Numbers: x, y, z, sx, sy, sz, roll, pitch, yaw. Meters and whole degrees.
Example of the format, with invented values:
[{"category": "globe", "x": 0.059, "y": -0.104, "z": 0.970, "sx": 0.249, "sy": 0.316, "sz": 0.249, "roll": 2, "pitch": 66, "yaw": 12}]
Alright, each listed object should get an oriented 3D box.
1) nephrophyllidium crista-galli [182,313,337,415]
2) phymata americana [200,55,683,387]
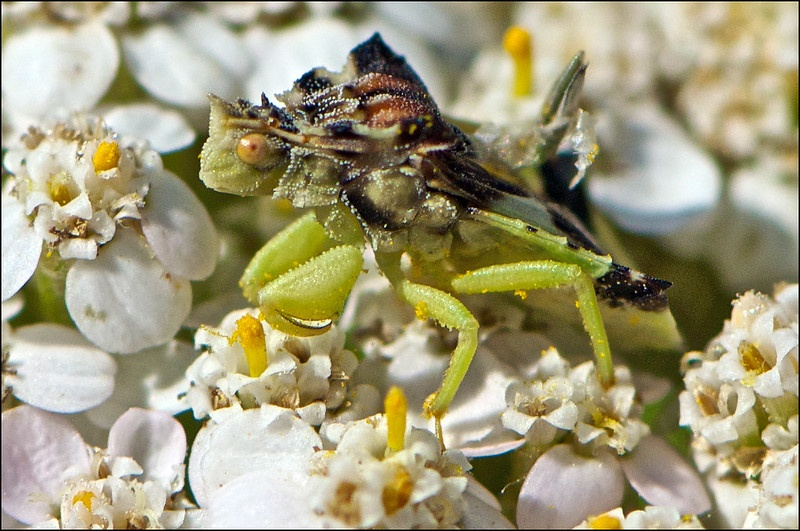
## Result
[{"category": "nephrophyllidium crista-galli", "x": -0.252, "y": 0.176, "z": 1.846, "sx": 0.280, "sy": 0.159, "sz": 0.124, "roll": -3, "pitch": -19, "yaw": 1}, {"category": "phymata americana", "x": 0.043, "y": -0.201, "z": 1.949, "sx": 0.713, "sy": 0.515, "sz": 0.578, "roll": 7, "pitch": 19, "yaw": -6}]
